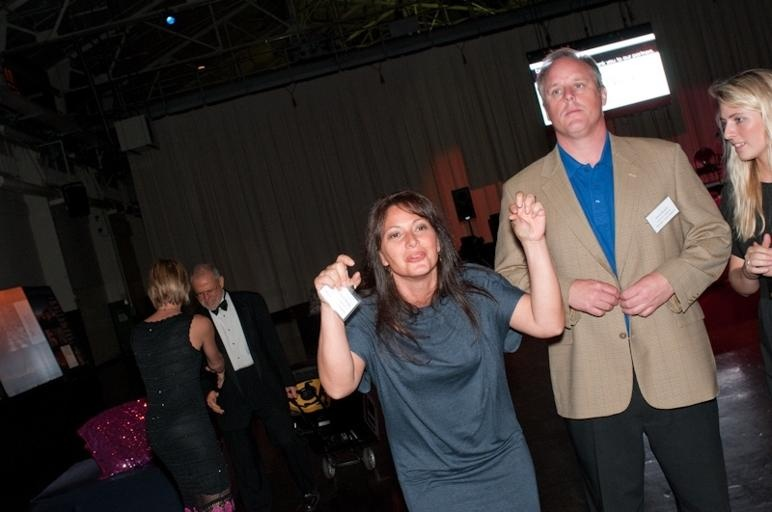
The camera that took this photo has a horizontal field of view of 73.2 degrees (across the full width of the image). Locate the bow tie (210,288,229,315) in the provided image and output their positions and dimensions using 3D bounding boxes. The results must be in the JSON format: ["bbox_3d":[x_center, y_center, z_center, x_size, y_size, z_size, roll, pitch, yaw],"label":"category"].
[{"bbox_3d":[-1.583,0.456,4.945,0.131,0.115,0.194,-13,1,-4],"label":"bow tie"}]

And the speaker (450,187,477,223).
[{"bbox_3d":[1.814,-1.223,12.375,0.477,0.994,0.537,-14,15,1],"label":"speaker"}]
